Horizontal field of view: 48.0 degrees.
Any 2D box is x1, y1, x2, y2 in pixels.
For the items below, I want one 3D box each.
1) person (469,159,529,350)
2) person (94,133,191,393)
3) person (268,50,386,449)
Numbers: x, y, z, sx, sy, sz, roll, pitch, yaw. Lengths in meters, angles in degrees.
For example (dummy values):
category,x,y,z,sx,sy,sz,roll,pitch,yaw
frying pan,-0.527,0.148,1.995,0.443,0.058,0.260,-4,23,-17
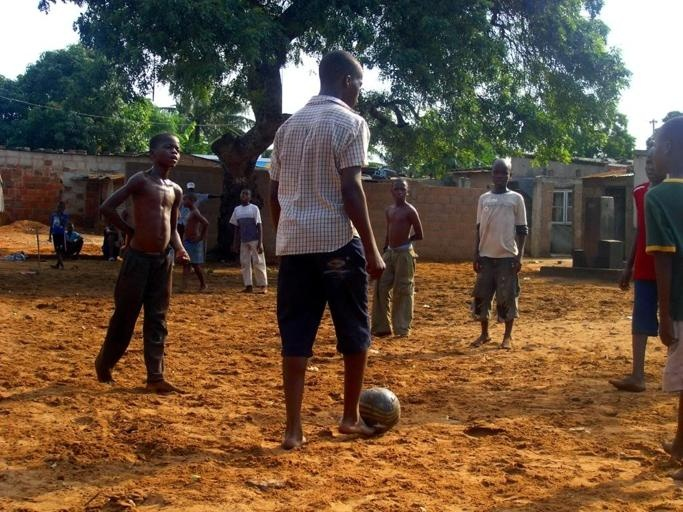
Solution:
category,x,y,z,sx,sy,sz,roll,pitch,yaw
person,1.879,0.128,9.163,0.590,1.939,0.380,3,7,13
person,-1.842,0.236,7.081,0.842,1.988,0.463,-1,7,-18
person,-0.121,0.113,6.009,0.818,2.697,0.515,0,7,-7
